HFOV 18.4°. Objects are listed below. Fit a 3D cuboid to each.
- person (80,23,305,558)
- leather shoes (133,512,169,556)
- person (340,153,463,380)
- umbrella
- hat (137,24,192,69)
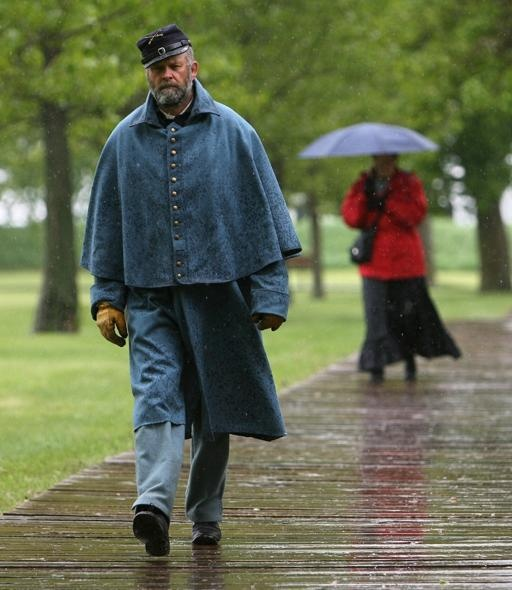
[{"bbox_3d":[-0.197,-0.020,5.533,0.755,1.831,0.651,-3,10,-10],"label":"person"},{"bbox_3d":[-0.341,0.812,5.323,0.089,0.176,0.078,-3,33,9],"label":"leather shoes"},{"bbox_3d":[0.736,-0.112,8.369,0.605,1.298,0.988,1,10,9],"label":"person"},{"bbox_3d":[0.577,-0.745,7.647,0.168,0.178,0.742,-9,12,-40],"label":"umbrella"},{"bbox_3d":[-0.316,-0.878,5.573,0.187,0.150,0.122,-1,9,-3],"label":"hat"}]
